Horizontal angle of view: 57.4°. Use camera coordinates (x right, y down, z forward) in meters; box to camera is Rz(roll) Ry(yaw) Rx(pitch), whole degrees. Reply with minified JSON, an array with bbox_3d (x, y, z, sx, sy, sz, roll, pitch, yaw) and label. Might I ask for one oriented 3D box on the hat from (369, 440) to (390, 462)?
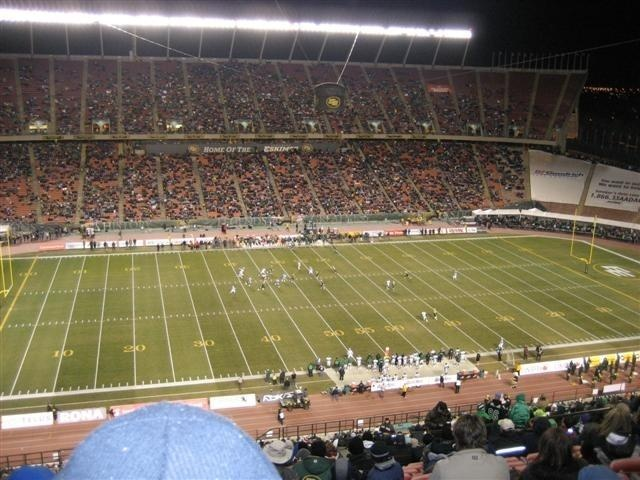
[{"bbox_3d":[0.952,3.382,9.275,0.269,0.317,0.457,-6,-14,-1],"label":"hat"}]
